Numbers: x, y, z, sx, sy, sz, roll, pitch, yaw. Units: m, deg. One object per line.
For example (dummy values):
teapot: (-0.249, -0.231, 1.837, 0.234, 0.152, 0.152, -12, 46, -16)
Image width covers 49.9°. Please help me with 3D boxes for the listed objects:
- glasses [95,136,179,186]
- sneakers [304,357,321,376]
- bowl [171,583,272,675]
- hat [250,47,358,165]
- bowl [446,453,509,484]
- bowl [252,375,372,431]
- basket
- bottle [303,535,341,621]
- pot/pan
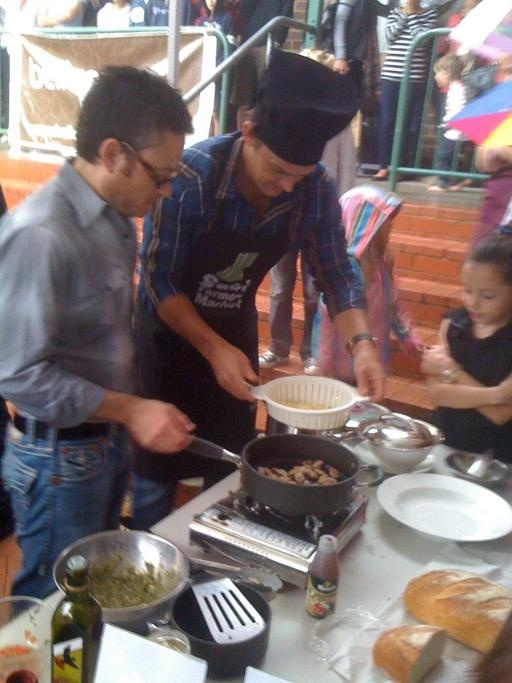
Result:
glasses: (-0.306, -0.444, 1.428, 0.121, 0.037, 0.118, 49, 14, 2)
sneakers: (0.375, 0.164, 3.629, 0.133, 0.138, 0.391, -2, 3, 4)
bowl: (-0.057, 0.455, 0.891, 0.155, 0.092, 0.178, -1, 13, -15)
hat: (0.110, -0.713, 1.758, 0.374, 0.329, 0.320, 5, 50, -8)
bowl: (0.632, 0.363, 1.585, 0.095, 0.022, 0.094, -1, 6, 0)
bowl: (0.147, 0.171, 1.604, 0.240, 0.055, 0.197, -3, 23, -8)
basket: (0.143, 0.170, 1.604, 0.241, 0.056, 0.195, -2, 23, -8)
bottle: (0.119, 0.414, 0.991, 0.058, 0.161, 0.086, 4, 13, 7)
pot/pan: (0.059, 0.239, 1.180, 0.279, 0.066, 0.159, 11, 17, 33)
